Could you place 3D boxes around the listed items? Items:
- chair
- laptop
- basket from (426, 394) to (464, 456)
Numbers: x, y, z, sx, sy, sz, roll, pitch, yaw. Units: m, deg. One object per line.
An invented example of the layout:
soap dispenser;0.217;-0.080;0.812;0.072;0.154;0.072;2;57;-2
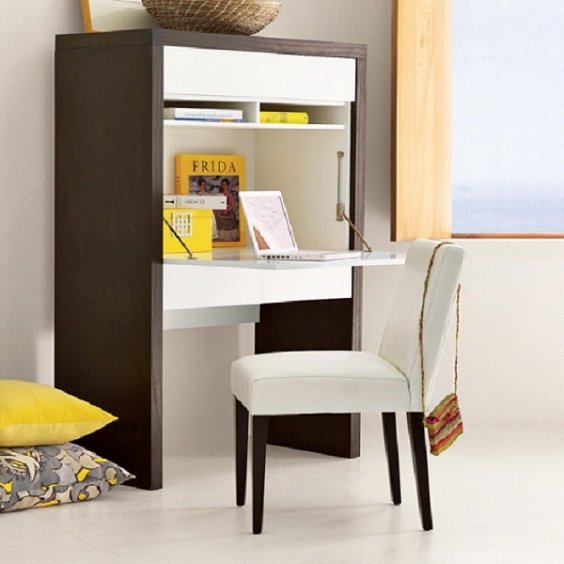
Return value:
chair;0.169;0.302;1.783;0.638;0.861;0.432;0;-1;-7
laptop;0.014;-0.206;2.212;0.297;0.279;0.354;0;3;26
basket;0.468;0.420;1.698;0.098;0.196;0.240;0;-1;18
